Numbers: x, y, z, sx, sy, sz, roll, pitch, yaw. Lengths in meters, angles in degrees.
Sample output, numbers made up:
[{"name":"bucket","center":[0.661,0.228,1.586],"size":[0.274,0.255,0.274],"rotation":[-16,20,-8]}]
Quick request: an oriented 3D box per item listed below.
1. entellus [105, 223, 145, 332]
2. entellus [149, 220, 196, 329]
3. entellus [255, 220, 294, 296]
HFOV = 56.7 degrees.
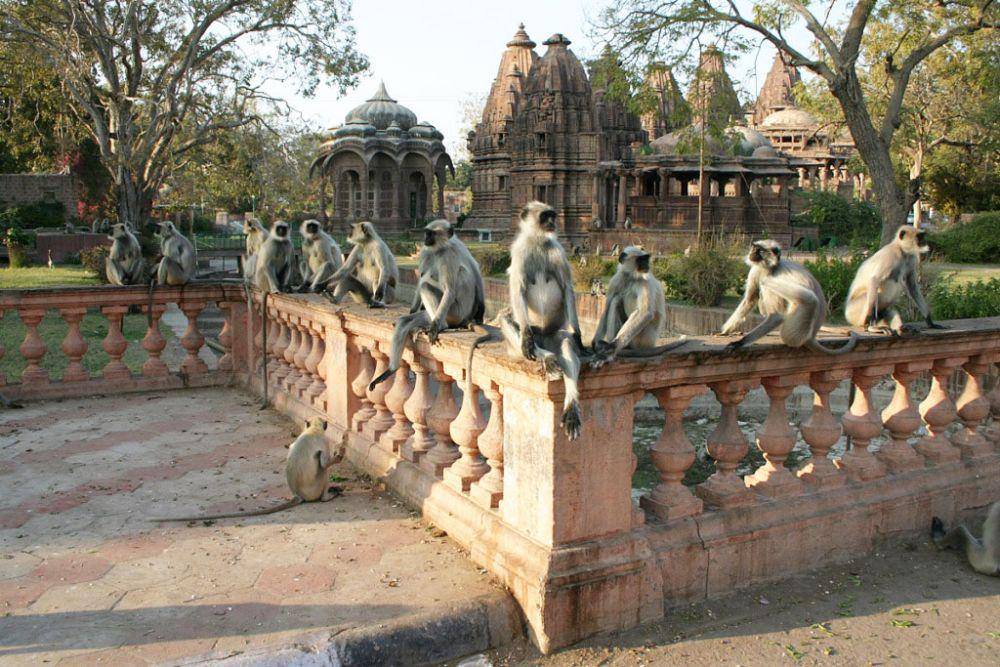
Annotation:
[{"name":"entellus","center":[-5.264,-1.079,12.951],"size":[0.429,0.993,0.950],"rotation":[-10,-27,-20]},{"name":"entellus","center":[-4.462,-1.094,12.599],"size":[0.506,0.738,0.945],"rotation":[-5,14,-16]},{"name":"entellus","center":[-2.727,-0.922,11.219],"size":[0.314,1.143,0.495],"rotation":[6,50,-20]}]
